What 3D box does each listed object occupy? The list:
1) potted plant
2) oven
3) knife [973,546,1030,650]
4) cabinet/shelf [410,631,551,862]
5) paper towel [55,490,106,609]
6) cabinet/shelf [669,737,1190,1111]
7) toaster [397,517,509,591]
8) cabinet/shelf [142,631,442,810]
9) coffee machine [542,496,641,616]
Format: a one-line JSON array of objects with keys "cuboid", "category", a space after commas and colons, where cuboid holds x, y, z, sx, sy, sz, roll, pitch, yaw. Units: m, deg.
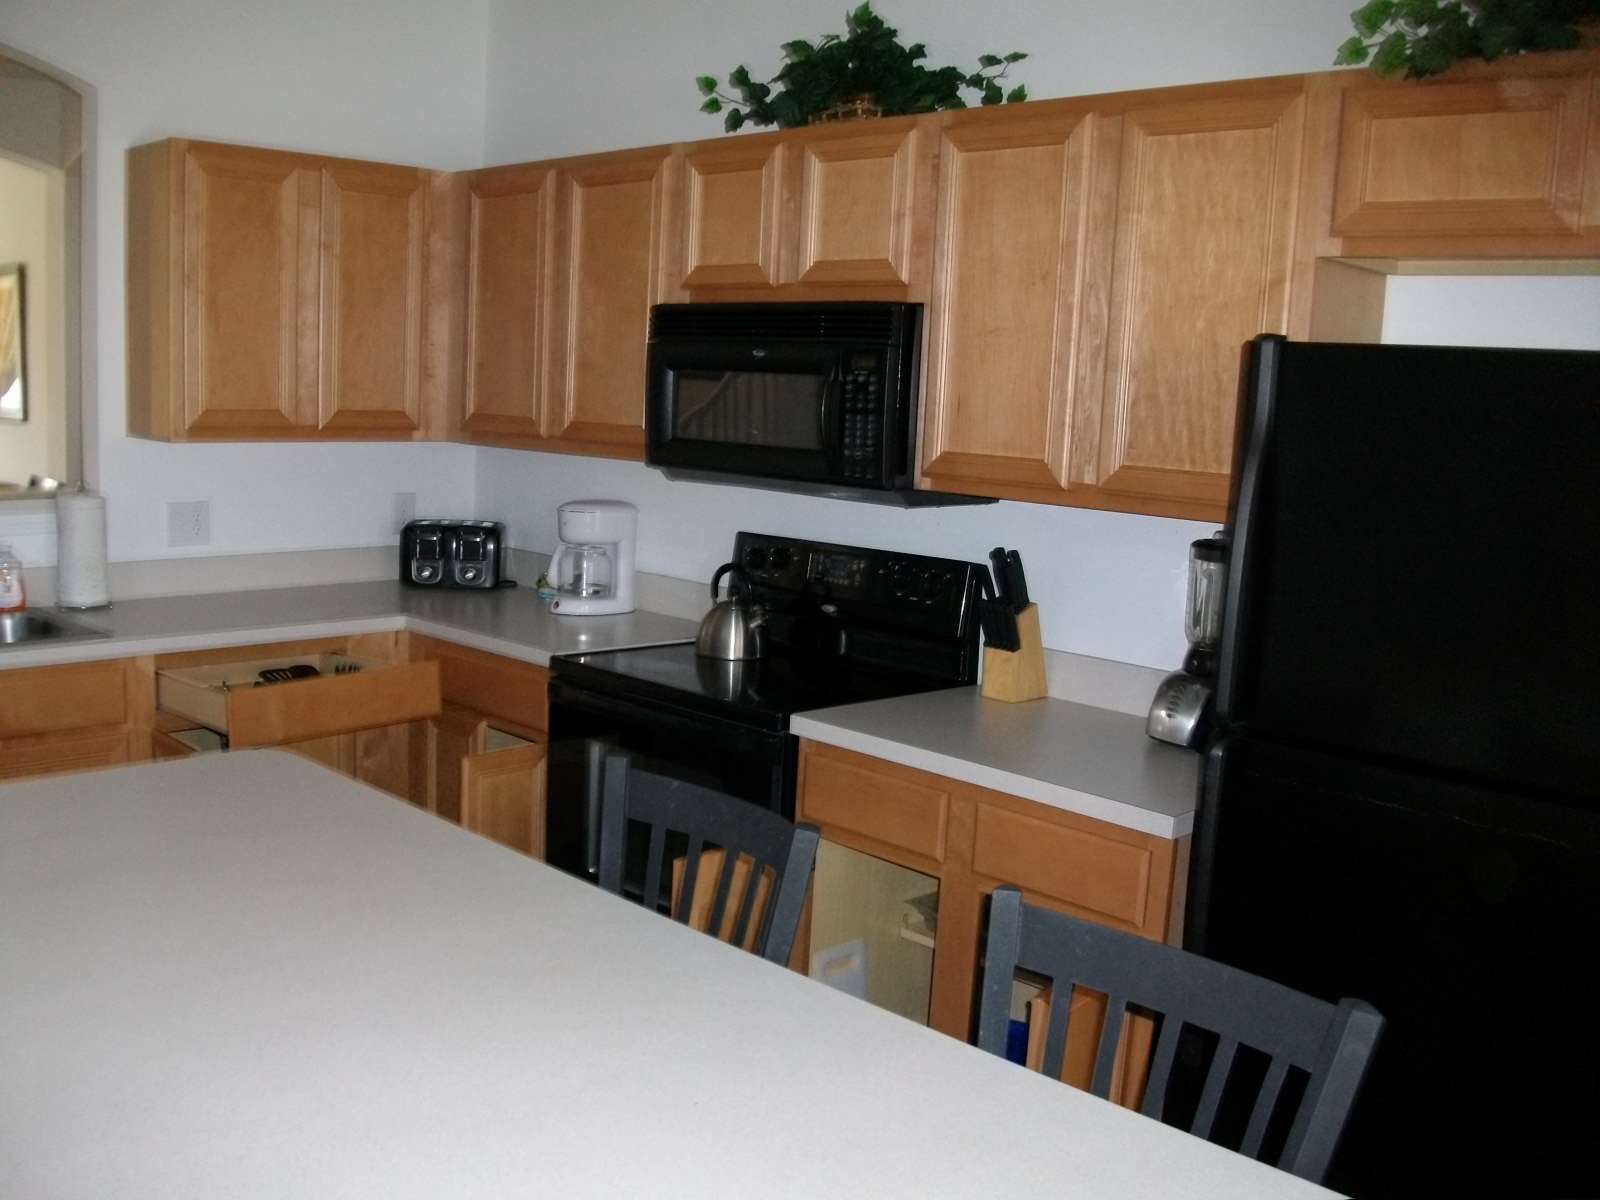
[{"cuboid": [0.133, -1.287, 2.994, 0.606, 0.265, 0.644, -10, 18, -32], "category": "potted plant"}, {"cuboid": [-0.371, 0.480, 2.957, 0.536, 0.837, 0.562, 5, -3, -38], "category": "oven"}, {"cuboid": [0.520, -0.013, 3.006, 0.111, 0.246, 0.185, 6, 10, 17], "category": "knife"}, {"cuboid": [-0.938, 0.426, 3.211, 0.315, 0.435, 0.477, -9, -11, 5], "category": "cabinet/shelf"}, {"cuboid": [-2.106, -0.141, 3.511, 0.120, 0.320, 0.110, 0, 1, 33], "category": "paper towel"}, {"cuboid": [0.244, 0.513, 1.957, 0.548, 0.538, 0.158, 11, 4, 42], "category": "cabinet/shelf"}, {"cuboid": [-1.198, -0.157, 4.132, 0.329, 0.258, 0.235, 3, 10, 6], "category": "toaster"}, {"cuboid": [-1.384, 0.299, 3.365, 0.576, 0.264, 0.572, 14, 13, 42], "category": "cabinet/shelf"}, {"cuboid": [-0.663, -0.151, 3.791, 0.265, 0.347, 0.209, -5, 11, -43], "category": "coffee machine"}]
